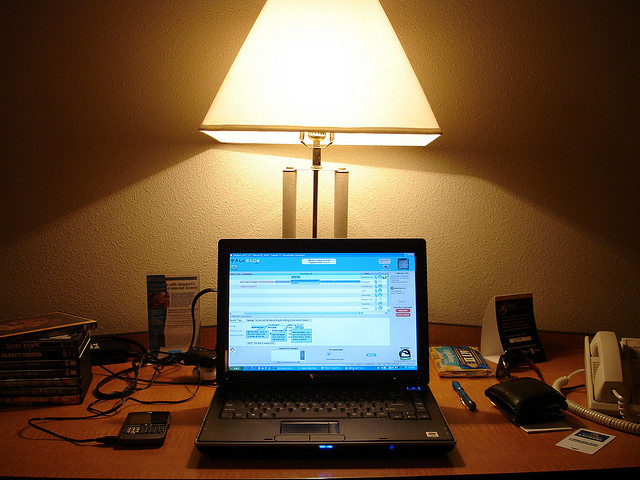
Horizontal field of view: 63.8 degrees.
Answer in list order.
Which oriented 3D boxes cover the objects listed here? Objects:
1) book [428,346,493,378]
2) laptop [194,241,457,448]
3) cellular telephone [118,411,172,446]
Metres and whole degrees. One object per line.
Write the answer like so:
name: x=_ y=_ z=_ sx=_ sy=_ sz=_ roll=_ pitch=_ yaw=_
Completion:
book: x=0.401 y=0.343 z=1.490 sx=0.151 sy=0.021 sz=0.162 roll=2 pitch=13 yaw=4
laptop: x=0.023 y=0.233 z=1.174 sx=0.602 sy=0.324 sz=0.377 roll=2 pitch=16 yaw=-5
cellular telephone: x=-0.396 y=0.412 z=1.167 sx=0.097 sy=0.097 sz=0.028 roll=6 pitch=23 yaw=-18
